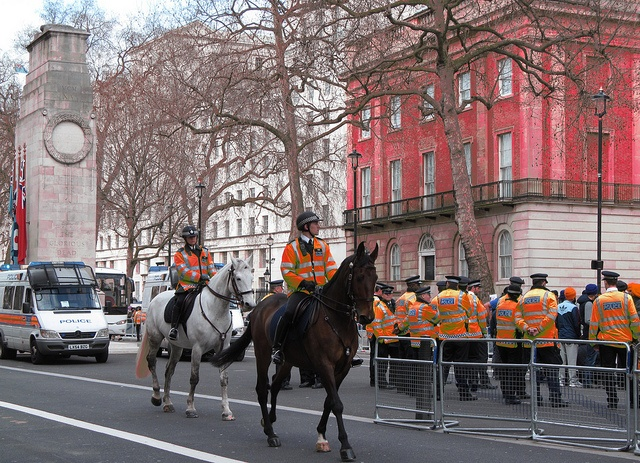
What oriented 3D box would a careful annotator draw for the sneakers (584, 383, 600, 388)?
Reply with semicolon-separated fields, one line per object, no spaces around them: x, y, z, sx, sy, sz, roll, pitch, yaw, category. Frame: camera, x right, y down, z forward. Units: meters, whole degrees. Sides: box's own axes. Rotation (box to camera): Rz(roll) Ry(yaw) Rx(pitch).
6.165;3.493;25.064;0.392;0.098;0.041;-4;-7;32;sneakers

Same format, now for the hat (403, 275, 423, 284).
2.565;1.391;31.874;0.438;0.170;0.375;-3;1;36;hat

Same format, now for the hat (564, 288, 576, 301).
7.591;1.879;33.243;0.396;0.289;0.290;-5;21;-17;hat

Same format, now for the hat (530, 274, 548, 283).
5.907;1.221;29.515;0.435;0.198;0.383;2;-2;-21;hat

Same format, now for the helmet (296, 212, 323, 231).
-0.266;-0.282;25.545;0.532;0.248;0.373;-13;-8;1;helmet

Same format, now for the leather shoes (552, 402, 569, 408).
5.498;3.964;25.349;0.359;0.132;0.050;-4;-7;31;leather shoes

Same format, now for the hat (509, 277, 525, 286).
5.641;1.397;31.492;0.409;0.158;0.472;13;6;39;hat

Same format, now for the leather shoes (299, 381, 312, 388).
-0.415;4.493;32.384;0.361;0.136;0.125;4;-9;2;leather shoes

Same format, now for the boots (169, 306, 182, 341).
-3.684;2.348;28.268;0.295;0.850;0.272;4;-9;4;boots

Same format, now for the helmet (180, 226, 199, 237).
-3.324;-0.012;28.254;0.382;0.328;0.363;0;-6;-6;helmet

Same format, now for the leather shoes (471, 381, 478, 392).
3.652;3.643;26.088;0.288;0.252;0.142;2;-2;-8;leather shoes

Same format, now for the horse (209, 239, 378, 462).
-0.309;2.706;25.156;1.266;4.776;3.770;5;-8;-43;horse

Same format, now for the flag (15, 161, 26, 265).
-12.547;-0.964;46.589;0.250;4.630;1.210;2;-6;-24;flag

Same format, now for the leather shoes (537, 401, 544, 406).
5.113;3.976;25.592;0.165;0.139;0.083;0;-9;-1;leather shoes

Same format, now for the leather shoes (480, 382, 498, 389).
3.958;3.612;25.937;0.426;0.161;0.120;-2;-23;7;leather shoes
